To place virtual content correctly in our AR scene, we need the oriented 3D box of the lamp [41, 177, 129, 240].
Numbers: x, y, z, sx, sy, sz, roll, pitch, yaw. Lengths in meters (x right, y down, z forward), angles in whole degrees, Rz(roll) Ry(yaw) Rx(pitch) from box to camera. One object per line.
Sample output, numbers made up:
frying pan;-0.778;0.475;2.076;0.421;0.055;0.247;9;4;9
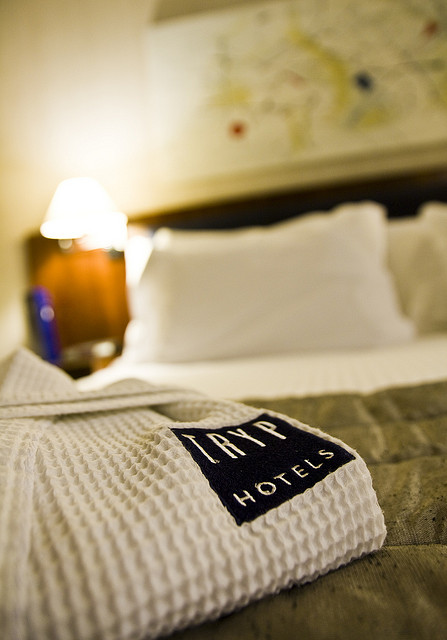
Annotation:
lamp;-0.284;-0.210;1.181;0.198;0.159;0.176;-2;14;-7
